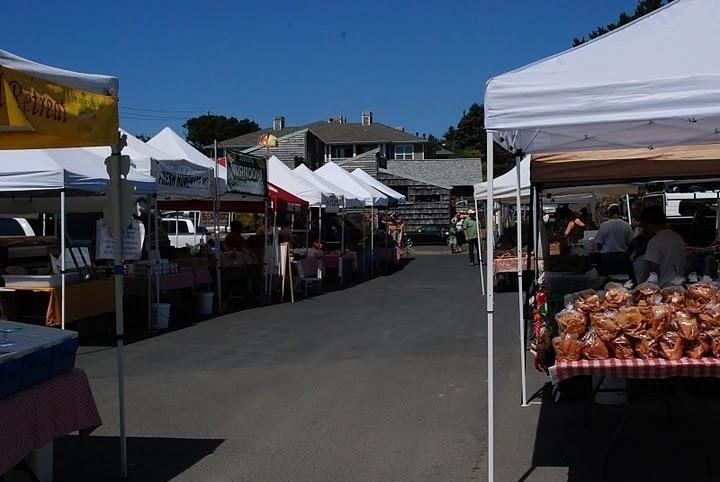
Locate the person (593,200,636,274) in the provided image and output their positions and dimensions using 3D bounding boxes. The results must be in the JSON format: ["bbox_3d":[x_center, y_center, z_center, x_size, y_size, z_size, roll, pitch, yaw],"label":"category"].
[{"bbox_3d":[4.403,0.037,10.807,0.634,0.879,2.813,-1,2,23],"label":"person"}]

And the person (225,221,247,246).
[{"bbox_3d":[-3.470,-0.190,17.359,0.667,0.857,0.510,4,9,15],"label":"person"}]

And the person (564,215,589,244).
[{"bbox_3d":[5.812,-0.271,16.697,0.662,0.797,0.416,8,10,38],"label":"person"}]

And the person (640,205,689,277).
[{"bbox_3d":[3.690,0.052,7.559,0.483,0.949,0.838,-1,2,25],"label":"person"}]
